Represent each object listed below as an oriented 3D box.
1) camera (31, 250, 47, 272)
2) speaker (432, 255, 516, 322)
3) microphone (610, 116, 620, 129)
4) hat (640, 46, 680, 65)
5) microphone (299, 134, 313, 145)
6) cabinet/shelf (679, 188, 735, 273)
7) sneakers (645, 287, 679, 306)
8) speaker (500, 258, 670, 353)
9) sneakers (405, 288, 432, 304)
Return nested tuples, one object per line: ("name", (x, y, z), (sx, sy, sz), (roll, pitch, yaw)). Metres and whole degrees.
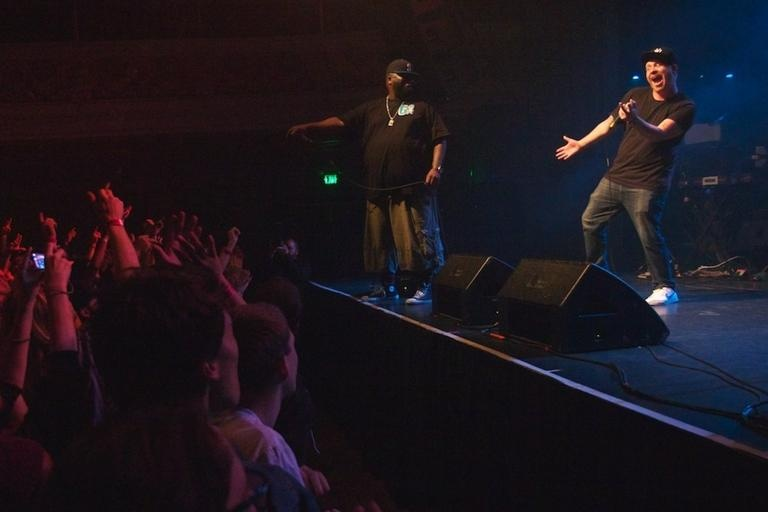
("camera", (-1.311, 0.012, 2.238), (0.071, 0.079, 0.073), (-1, 12, -44))
("speaker", (0.565, 0.199, 3.697), (0.407, 0.366, 0.424), (0, -2, -29))
("microphone", (1.587, -0.921, 4.012), (0.033, 0.069, 0.040), (0, 4, -17))
("hat", (1.887, -1.377, 4.006), (0.215, 0.164, 0.241), (4, 3, 23))
("microphone", (-0.564, -0.845, 4.232), (0.082, 0.030, 0.069), (28, 5, -12))
("cabinet/shelf", (3.479, -0.323, 6.335), (0.228, 0.781, 0.513), (-4, 2, -43))
("sneakers", (1.893, 0.277, 3.969), (0.241, 0.101, 0.103), (1, -6, -29))
("speaker", (1.029, 0.265, 3.104), (0.501, 0.362, 0.664), (-5, 2, -21))
("sneakers", (0.256, 0.289, 4.215), (0.235, 0.107, 0.077), (6, -8, -43))
